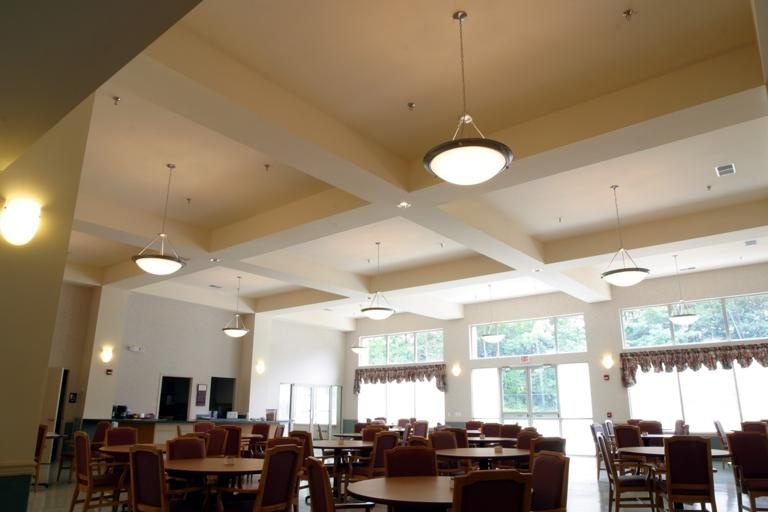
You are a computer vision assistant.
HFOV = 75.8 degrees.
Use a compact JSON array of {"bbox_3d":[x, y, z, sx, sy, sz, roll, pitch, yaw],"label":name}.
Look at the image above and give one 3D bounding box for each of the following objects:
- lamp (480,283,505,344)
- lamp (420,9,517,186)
[{"bbox_3d":[3.372,1.932,15.362,0.673,1.462,2.000,-5,-20,11],"label":"lamp"},{"bbox_3d":[0.939,-1.502,5.611,0.921,1.446,1.860,-7,-21,17],"label":"lamp"}]
